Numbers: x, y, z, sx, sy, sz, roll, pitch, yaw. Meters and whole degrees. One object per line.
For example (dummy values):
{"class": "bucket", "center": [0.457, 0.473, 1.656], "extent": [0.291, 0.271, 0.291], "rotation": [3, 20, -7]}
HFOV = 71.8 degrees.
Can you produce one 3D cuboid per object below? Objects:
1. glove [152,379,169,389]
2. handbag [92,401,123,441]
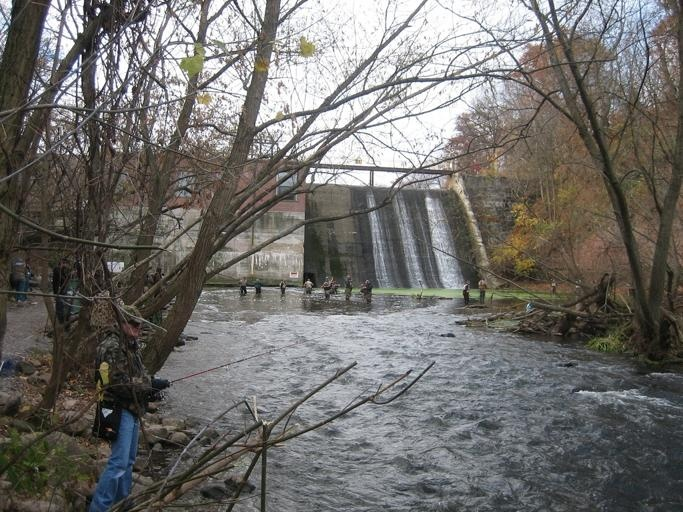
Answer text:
{"class": "glove", "center": [-2.224, 1.591, 5.846], "extent": [0.172, 0.090, 0.224], "rotation": [6, 8, -9]}
{"class": "handbag", "center": [-2.641, 1.840, 5.276], "extent": [0.310, 0.445, 0.179], "rotation": [-7, -10, 23]}
